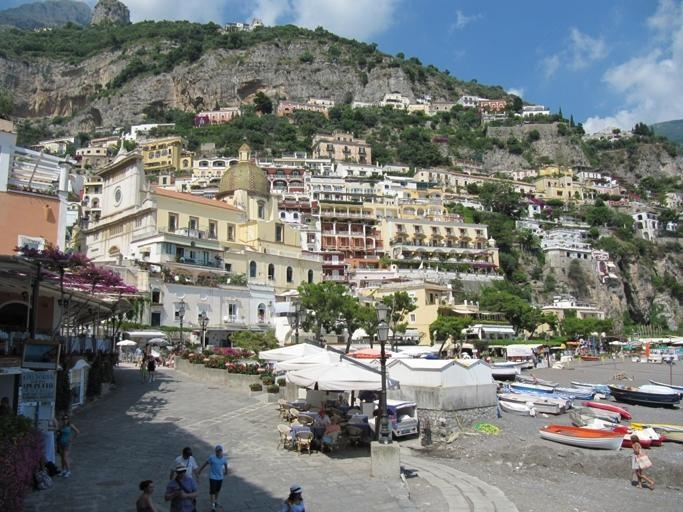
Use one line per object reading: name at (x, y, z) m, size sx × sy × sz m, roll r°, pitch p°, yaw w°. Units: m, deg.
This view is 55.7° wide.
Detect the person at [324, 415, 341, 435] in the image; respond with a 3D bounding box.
person at (-0.417, 7.182, 27.715) m, size 0.623 × 0.618 × 1.592 m, roll -2°, pitch -10°, yaw -2°

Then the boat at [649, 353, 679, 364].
boat at (40.770, 13.008, 82.374) m, size 3.320 × 1.303 × 9.105 m, roll -7°, pitch -11°, yaw 25°

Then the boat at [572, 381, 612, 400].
boat at (19.323, 10.653, 50.347) m, size 1.248 × 0.944 × 3.509 m, roll 2°, pitch 1°, yaw -43°

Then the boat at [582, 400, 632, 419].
boat at (15.764, 9.041, 38.657) m, size 2.538 × 0.619 × 1.547 m, roll 14°, pitch -8°, yaw 28°

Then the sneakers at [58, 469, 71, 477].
sneakers at (-9.622, 7.540, 22.463) m, size 0.369 × 0.237 × 0.278 m, roll 3°, pitch -11°, yaw -26°

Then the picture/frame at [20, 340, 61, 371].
picture/frame at (-10.999, 3.605, 23.498) m, size 1.074 × 0.826 × 1.097 m, roll 1°, pitch 0°, yaw -10°

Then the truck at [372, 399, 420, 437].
truck at (2.872, 8.204, 31.972) m, size 1.806 × 1.707 × 3.123 m, roll 2°, pitch -2°, yaw -25°

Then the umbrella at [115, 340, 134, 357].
umbrella at (-16.852, 7.350, 49.830) m, size 1.776 × 1.270 × 1.811 m, roll 5°, pitch -3°, yaw -18°

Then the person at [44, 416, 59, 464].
person at (-10.284, 6.490, 22.768) m, size 0.438 × 1.611 × 1.808 m, roll 2°, pitch -10°, yaw -22°
